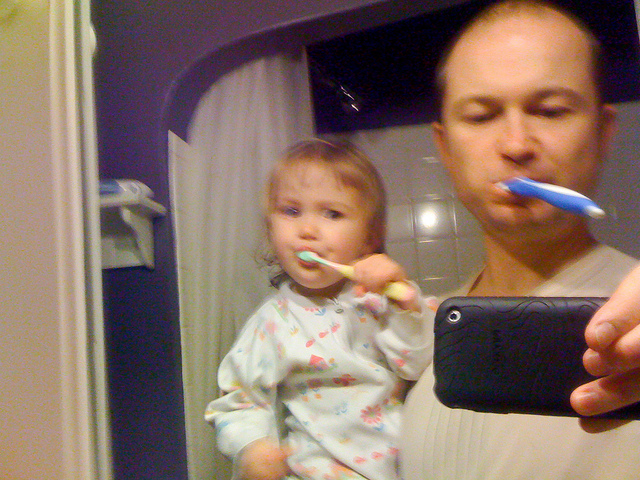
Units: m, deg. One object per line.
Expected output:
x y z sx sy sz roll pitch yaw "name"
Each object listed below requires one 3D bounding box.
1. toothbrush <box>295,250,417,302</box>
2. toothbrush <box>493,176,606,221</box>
0.068 0.058 1.176 0.184 0.030 0.030 20 31 14 "toothbrush"
0.368 -0.068 1.085 0.025 0.027 0.143 -40 38 -18 "toothbrush"
